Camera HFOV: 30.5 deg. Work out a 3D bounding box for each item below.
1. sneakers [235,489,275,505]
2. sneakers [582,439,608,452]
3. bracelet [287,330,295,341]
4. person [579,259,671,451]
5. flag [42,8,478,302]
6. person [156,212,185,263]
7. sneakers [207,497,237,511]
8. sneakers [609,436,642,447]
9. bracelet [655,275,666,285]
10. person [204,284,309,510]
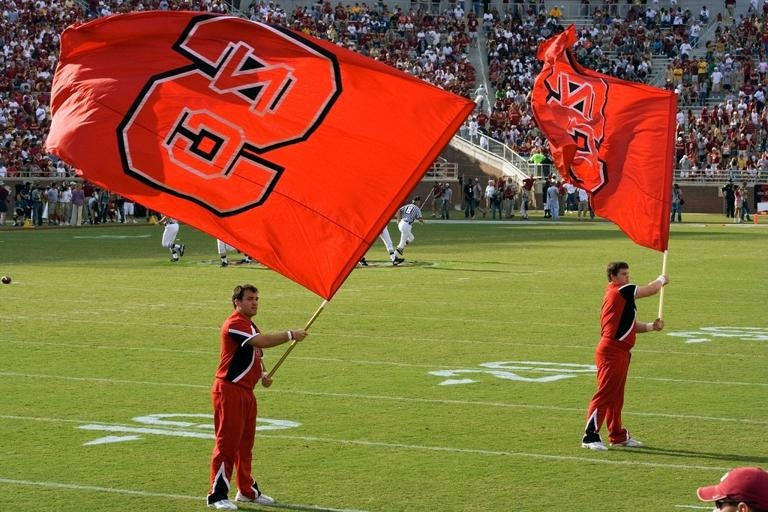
[{"bbox_3d":[-1.375,2.645,15.412,0.486,0.157,0.147,1,0,-2],"label":"sneakers"},{"bbox_3d":[2.528,2.262,16.809,0.241,0.078,0.123,0,2,10],"label":"sneakers"},{"bbox_3d":[-0.982,0.849,15.213,0.049,0.092,0.078,5,-8,-7],"label":"bracelet"},{"bbox_3d":[2.853,1.187,16.878,0.804,2.158,0.888,6,12,26],"label":"person"},{"bbox_3d":[-1.338,-1.555,16.367,5.937,1.179,3.685,17,7,11],"label":"flag"},{"bbox_3d":[-4.890,-0.379,32.553,0.805,0.560,1.324,0,21,-7],"label":"person"},{"bbox_3d":[-1.724,2.695,15.276,0.248,0.081,0.133,-3,-3,16],"label":"sneakers"},{"bbox_3d":[2.933,2.236,16.922,0.408,0.156,0.129,-2,1,3],"label":"sneakers"},{"bbox_3d":[3.381,0.283,17.075,0.108,0.047,0.142,-15,-2,15],"label":"bracelet"},{"bbox_3d":[-1.532,1.527,15.336,0.855,2.361,0.660,-5,12,-29],"label":"person"}]
